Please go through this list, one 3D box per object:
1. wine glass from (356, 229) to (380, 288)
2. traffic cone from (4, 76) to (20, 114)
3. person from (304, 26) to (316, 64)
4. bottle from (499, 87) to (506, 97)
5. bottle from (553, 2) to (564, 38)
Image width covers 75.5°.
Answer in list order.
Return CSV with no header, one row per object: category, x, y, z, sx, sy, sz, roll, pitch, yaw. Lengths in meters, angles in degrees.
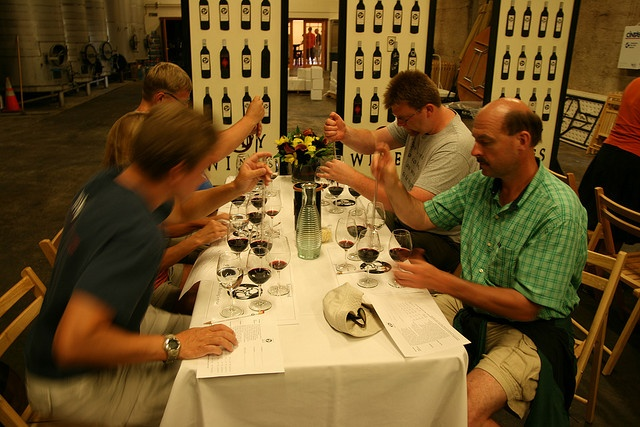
wine glass,0.257,0.258,2.277,0.136,0.339,0.159,-1,26,0
traffic cone,-7.420,-2.854,9.889,0.322,0.795,0.641,-14,27,-31
person,-0.491,-8.318,20.419,0.544,1.654,0.751,0,22,0
bottle,2.293,-1.539,5.210,0.060,0.101,0.101,15,27,30
bottle,2.914,-2.374,5.065,0.130,0.384,0.030,-4,22,-10
